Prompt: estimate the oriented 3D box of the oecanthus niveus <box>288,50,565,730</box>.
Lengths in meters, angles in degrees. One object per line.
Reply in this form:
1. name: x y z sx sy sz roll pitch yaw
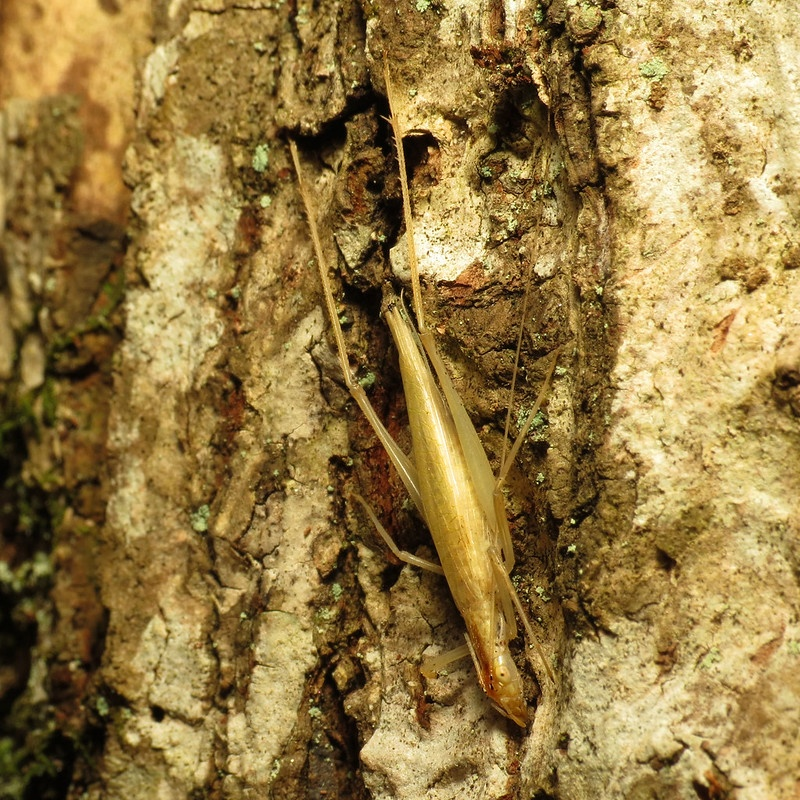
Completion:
1. oecanthus niveus: 0.120 0.150 4.408 0.576 0.485 1.687 -23 80 1
